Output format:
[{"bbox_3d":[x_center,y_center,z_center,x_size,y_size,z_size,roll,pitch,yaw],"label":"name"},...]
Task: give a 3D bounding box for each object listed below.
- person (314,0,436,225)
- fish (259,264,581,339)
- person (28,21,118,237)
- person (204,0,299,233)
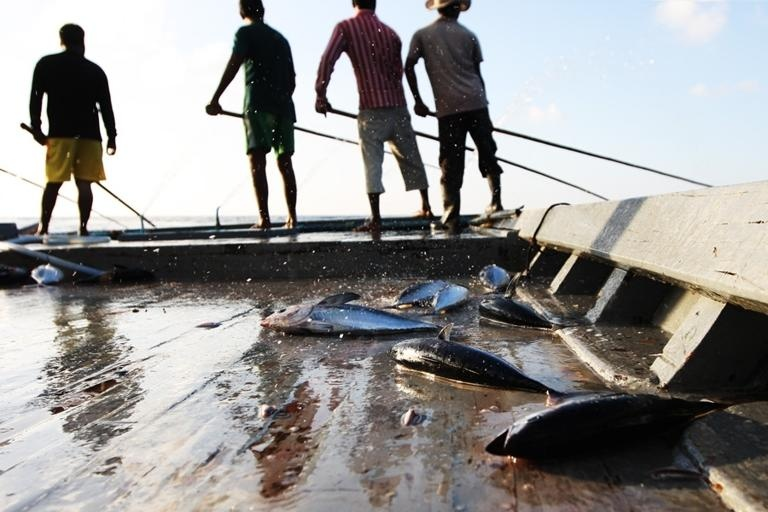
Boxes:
[{"bbox_3d":[-0.127,-1.635,5.577,1.232,2.667,0.448,-3,8,0],"label":"person"},{"bbox_3d":[0.280,0.279,2.963,1.630,0.302,0.269,-1,27,-4],"label":"fish"},{"bbox_3d":[-3.691,-1.472,5.649,0.954,2.459,0.523,-9,11,-38],"label":"person"},{"bbox_3d":[-1.417,-1.562,5.860,0.654,2.487,0.924,5,11,43],"label":"person"}]
